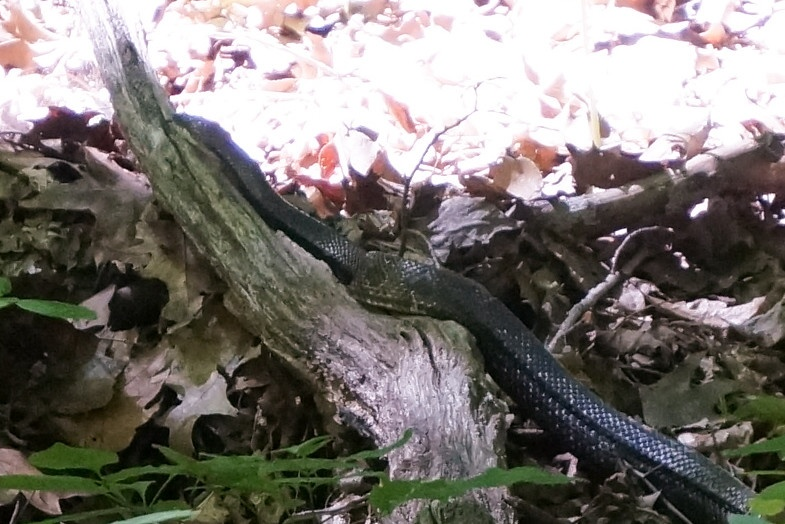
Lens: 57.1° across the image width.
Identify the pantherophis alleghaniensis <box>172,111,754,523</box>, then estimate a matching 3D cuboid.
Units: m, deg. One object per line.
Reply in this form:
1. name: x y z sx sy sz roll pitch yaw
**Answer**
1. pantherophis alleghaniensis: 0.447 0.407 4.247 3.633 0.431 0.379 34 -40 14
